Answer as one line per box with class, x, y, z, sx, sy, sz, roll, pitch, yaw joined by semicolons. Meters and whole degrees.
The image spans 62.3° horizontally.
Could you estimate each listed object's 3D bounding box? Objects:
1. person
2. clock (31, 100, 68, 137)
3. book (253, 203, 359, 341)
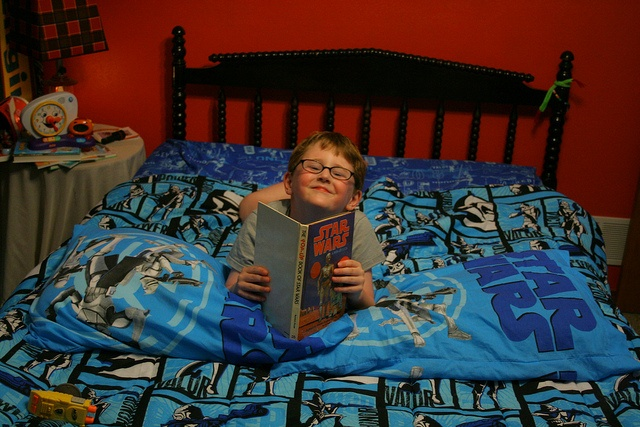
person;-0.071;-0.006;1.765;0.520;0.762;0.542;4;-84;-14
clock;-1.186;-0.417;2.302;0.176;0.055;0.176;2;-74;-36
book;-0.045;0.171;1.464;0.235;0.227;0.385;31;-60;32
